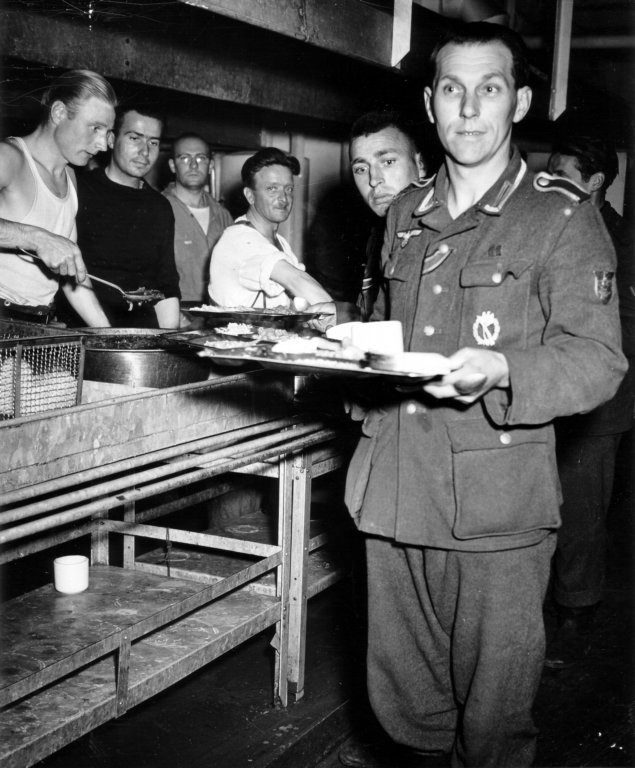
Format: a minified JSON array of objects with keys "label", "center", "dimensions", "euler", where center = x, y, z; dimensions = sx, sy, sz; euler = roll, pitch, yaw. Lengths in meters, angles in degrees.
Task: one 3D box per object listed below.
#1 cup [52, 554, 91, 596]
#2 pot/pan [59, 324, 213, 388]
[{"label":"cup","center":[-0.658,0.497,1.936],"dimensions":[0.090,0.083,0.088],"euler":[1,9,0]},{"label":"pot/pan","center":[-0.450,-0.051,1.850],"dimensions":[0.233,0.076,0.224],"euler":[4,13,0]}]
